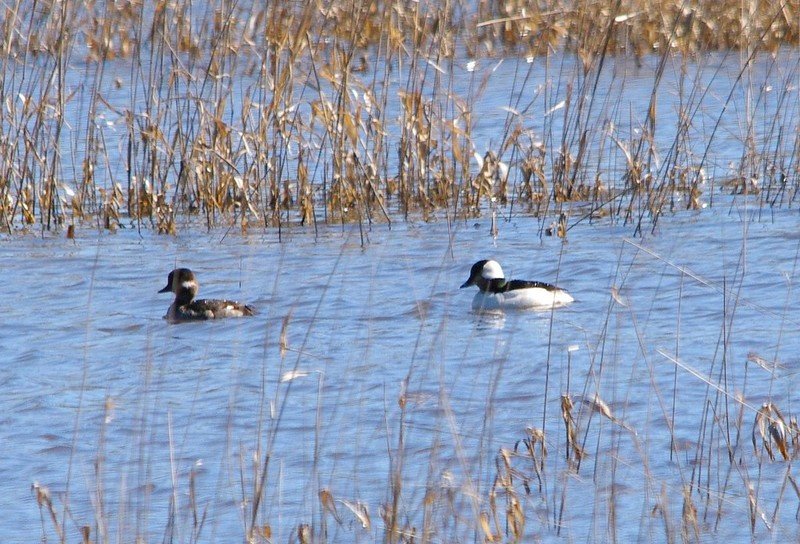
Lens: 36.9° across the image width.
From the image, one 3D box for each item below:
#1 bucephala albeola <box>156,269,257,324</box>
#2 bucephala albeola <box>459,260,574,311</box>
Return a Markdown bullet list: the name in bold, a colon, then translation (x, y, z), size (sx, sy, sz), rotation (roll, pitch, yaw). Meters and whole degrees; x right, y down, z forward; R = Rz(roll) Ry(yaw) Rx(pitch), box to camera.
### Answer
- **bucephala albeola**: translation (-1.909, 0.297, 12.067), size (0.936, 0.653, 0.458), rotation (0, 10, -14)
- **bucephala albeola**: translation (1.199, 0.205, 12.300), size (1.093, 0.654, 0.444), rotation (-1, 1, -11)
